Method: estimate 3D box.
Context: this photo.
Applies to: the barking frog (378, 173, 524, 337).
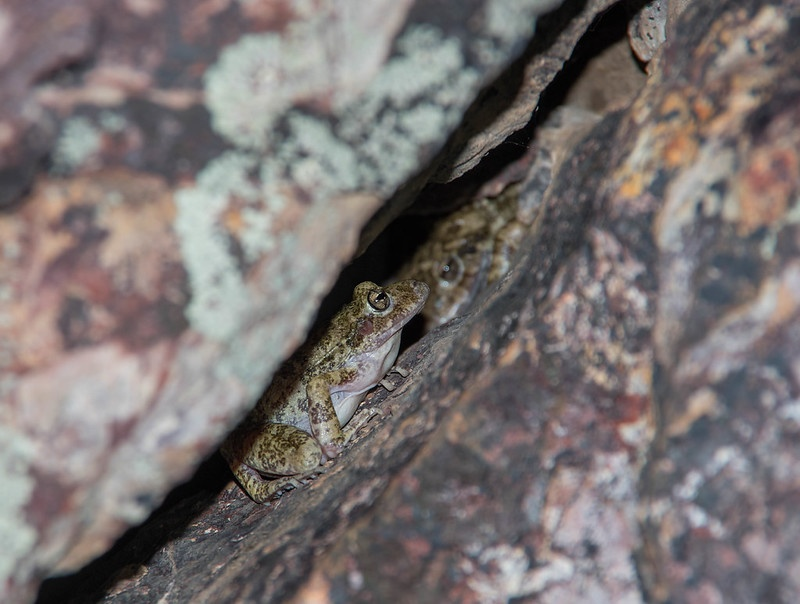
[{"bbox_3d":[0.245,-0.167,4.653,0.529,0.165,0.446,-43,52,18],"label":"barking frog"}]
